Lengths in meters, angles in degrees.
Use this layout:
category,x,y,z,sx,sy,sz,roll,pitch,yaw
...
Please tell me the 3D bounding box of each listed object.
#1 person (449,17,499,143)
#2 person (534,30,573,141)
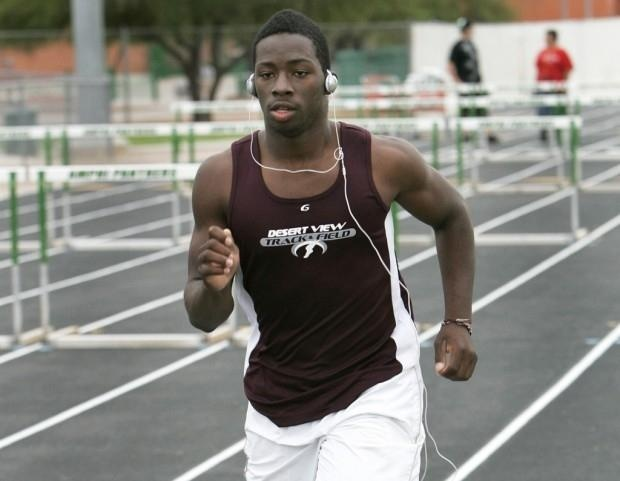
category,x,y,z,sx,sy,sz,roll,pitch,yaw
person,2.691,-2.692,16.948,0.667,2.343,0.547,-5,6,-4
person,4.415,-2.866,17.578,0.649,1.790,0.425,5,27,31
